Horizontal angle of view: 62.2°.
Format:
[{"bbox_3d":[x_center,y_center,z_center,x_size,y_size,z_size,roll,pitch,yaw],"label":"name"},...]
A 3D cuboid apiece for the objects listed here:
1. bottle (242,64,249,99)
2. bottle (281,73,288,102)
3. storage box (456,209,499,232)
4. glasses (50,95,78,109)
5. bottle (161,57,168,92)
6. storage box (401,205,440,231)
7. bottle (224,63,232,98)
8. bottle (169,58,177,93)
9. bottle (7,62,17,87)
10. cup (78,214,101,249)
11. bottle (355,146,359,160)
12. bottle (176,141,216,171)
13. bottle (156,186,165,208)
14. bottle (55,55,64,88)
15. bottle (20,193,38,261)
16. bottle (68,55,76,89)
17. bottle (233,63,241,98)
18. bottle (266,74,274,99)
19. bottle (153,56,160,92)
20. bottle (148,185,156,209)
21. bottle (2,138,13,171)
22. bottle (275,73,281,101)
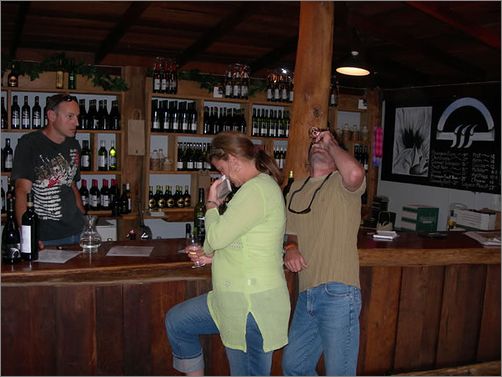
[{"bbox_3d":[-0.090,-1.440,5.613,0.106,0.470,0.153,2,2,0],"label":"bottle"},{"bbox_3d":[0.464,-1.402,5.773,0.122,0.398,0.104,2,2,4],"label":"bottle"},{"bbox_3d":[2.394,0.344,4.441,0.275,0.175,0.547,2,3,-18],"label":"storage box"},{"bbox_3d":[-1.495,-0.678,3.275,0.203,0.140,0.209,1,3,-29],"label":"glasses"},{"bbox_3d":[-1.098,-1.433,5.300,0.097,0.467,0.324,2,2,-12],"label":"bottle"},{"bbox_3d":[2.004,0.365,4.949,0.395,0.213,0.290,3,3,21],"label":"storage box"},{"bbox_3d":[-0.301,-1.434,5.572,0.113,0.450,0.146,2,2,-11],"label":"bottle"},{"bbox_3d":[-1.004,-1.432,5.350,0.116,0.478,0.339,2,2,-10],"label":"bottle"},{"bbox_3d":[-2.677,-1.276,4.669,0.092,0.298,0.161,1,2,-32],"label":"bottle"},{"bbox_3d":[-1.118,0.312,2.890,0.135,0.259,0.166,1,2,-24],"label":"cup"},{"bbox_3d":[1.634,-0.555,6.459,0.049,0.218,0.155,2,-5,9],"label":"bottle"},{"bbox_3d":[-0.677,-0.365,4.889,0.436,0.404,0.108,-1,3,-23],"label":"bottle"},{"bbox_3d":[-1.197,0.107,5.443,0.122,0.284,0.328,2,2,-13],"label":"bottle"},{"bbox_3d":[-2.206,-1.342,4.788,0.070,0.403,0.112,1,2,-22],"label":"bottle"},{"bbox_3d":[-1.433,0.249,2.658,0.122,0.427,0.113,2,2,0],"label":"bottle"},{"bbox_3d":[-2.098,-1.343,4.855,0.077,0.356,0.056,1,2,-21],"label":"bottle"},{"bbox_3d":[-0.195,-1.434,5.596,0.099,0.432,0.133,2,2,-10],"label":"bottle"},{"bbox_3d":[0.270,-1.398,5.721,0.092,0.375,0.110,2,2,-5],"label":"bottle"},{"bbox_3d":[-1.173,-1.409,5.184,0.088,0.435,0.113,1,2,-19],"label":"bottle"},{"bbox_3d":[-1.270,0.114,5.352,0.085,0.280,0.277,2,2,-9],"label":"bottle"},{"bbox_3d":[-2.785,-0.384,4.753,0.092,0.382,0.312,1,3,-31],"label":"bottle"},{"bbox_3d":[0.355,-1.388,5.742,0.081,0.353,0.082,2,2,0],"label":"bottle"}]
